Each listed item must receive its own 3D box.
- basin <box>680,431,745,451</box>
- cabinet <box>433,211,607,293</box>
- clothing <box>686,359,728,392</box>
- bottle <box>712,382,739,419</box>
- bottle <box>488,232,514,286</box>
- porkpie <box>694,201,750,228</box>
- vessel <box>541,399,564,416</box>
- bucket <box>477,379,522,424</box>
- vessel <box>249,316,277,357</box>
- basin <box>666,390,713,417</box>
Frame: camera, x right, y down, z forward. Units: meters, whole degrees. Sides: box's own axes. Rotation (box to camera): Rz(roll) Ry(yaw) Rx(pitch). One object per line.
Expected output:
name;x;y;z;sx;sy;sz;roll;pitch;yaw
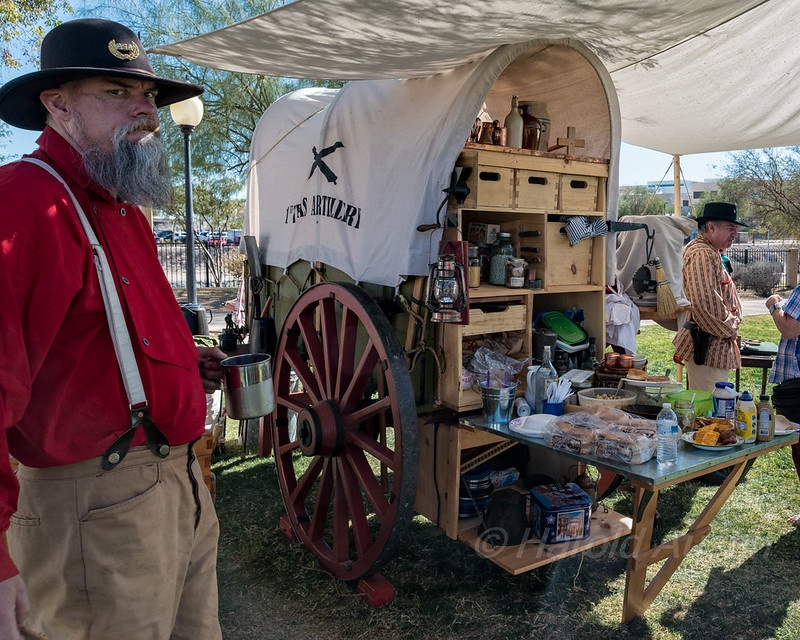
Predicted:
basin;1.575;0.604;3.487;0.323;0.070;0.134;-2;12;-5
cabinet;0.811;-0.436;4.440;0.703;0.623;0.662;-2;5;-25
clothing;2.263;0.400;5.159;0.204;0.393;0.227;-2;1;-9
bottle;1.765;0.423;3.798;0.158;0.265;0.159;-2;5;0
bottle;0.591;-0.356;4.099;0.149;0.296;0.112;1;12;7
porkpie;0.542;0.437;3.836;0.213;0.217;0.238;2;7;27
vessel;0.848;0.488;3.873;0.082;0.066;0.087;0;4;17
bucket;0.528;0.437;3.775;0.198;0.184;0.194;-2;2;0
vessel;-0.990;0.126;5.107;0.227;0.293;0.291;1;7;-13
basin;1.578;0.439;3.815;0.200;0.076;0.133;-3;7;-21
